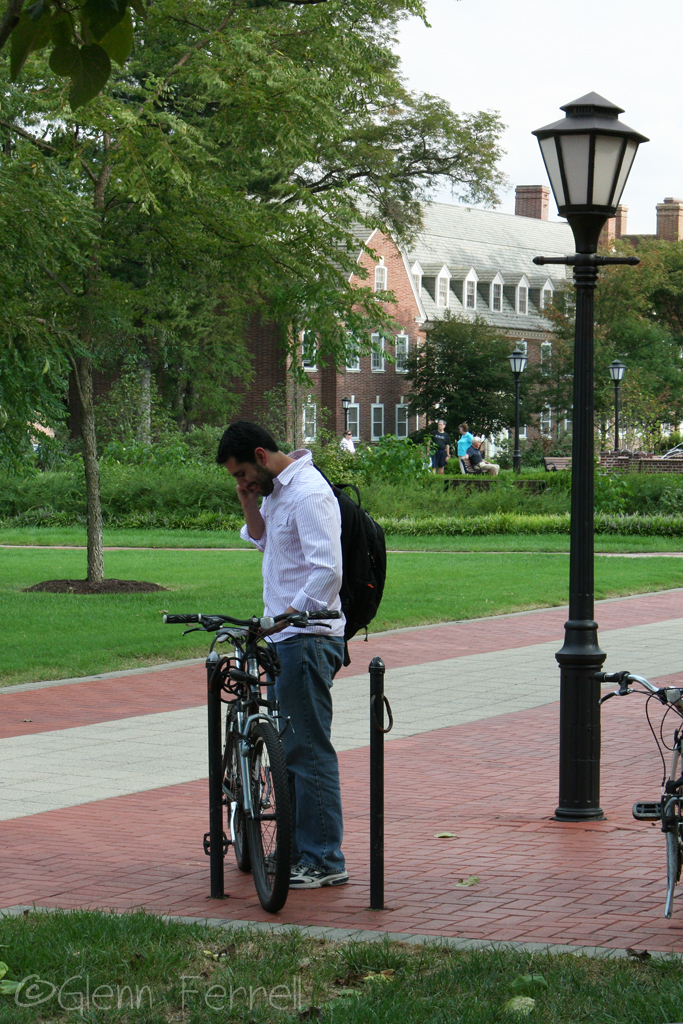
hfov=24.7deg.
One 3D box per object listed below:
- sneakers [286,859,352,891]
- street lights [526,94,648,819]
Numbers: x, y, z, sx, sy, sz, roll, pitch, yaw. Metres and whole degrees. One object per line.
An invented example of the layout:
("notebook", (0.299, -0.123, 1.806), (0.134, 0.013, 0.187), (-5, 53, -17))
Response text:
("sneakers", (-0.086, 1.378, 5.892), (0.230, 0.096, 0.079), (4, 1, -7))
("street lights", (1.186, -0.275, 7.242), (0.486, 3.029, 0.595), (-2, 0, 24))
